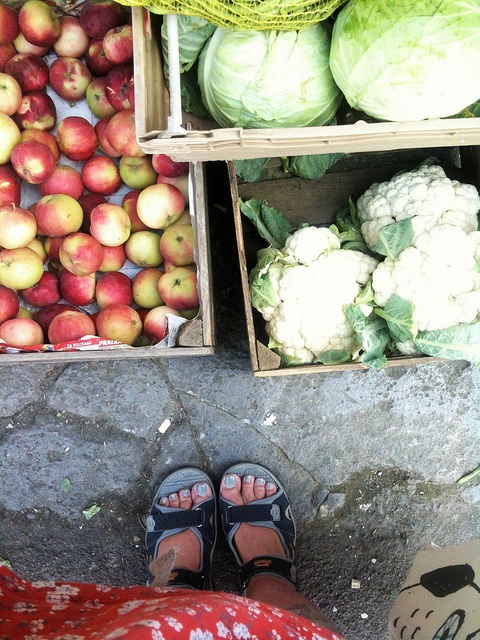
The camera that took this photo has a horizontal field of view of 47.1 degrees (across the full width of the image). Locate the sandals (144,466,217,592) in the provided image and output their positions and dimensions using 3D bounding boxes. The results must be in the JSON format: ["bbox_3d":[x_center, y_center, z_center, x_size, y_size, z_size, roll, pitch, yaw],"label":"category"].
[{"bbox_3d":[-0.222,0.770,2.076,0.190,0.197,0.523,-2,90,1],"label":"sandals"}]

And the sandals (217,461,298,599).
[{"bbox_3d":[0.061,0.776,2.075,0.195,0.193,0.524,-12,91,2],"label":"sandals"}]
